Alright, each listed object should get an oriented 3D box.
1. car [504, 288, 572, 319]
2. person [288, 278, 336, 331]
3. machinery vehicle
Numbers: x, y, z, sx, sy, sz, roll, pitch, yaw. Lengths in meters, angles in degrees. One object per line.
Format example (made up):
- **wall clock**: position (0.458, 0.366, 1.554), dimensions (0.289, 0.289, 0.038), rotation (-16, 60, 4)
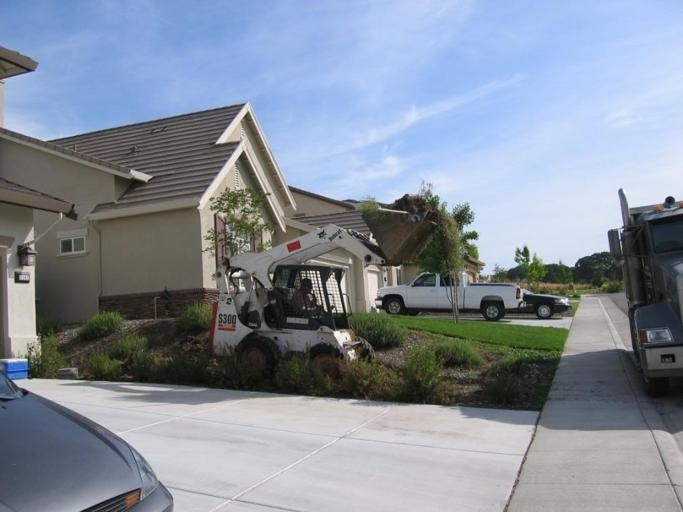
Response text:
- **car**: position (9.721, 2.493, 26.560), dimensions (2.950, 1.228, 1.541), rotation (0, -2, 13)
- **person**: position (-0.725, 1.075, 11.444), dimensions (1.038, 1.355, 0.761), rotation (1, -2, 10)
- **machinery vehicle**: position (-0.819, 1.053, 11.958), dimensions (4.096, 3.363, 1.844), rotation (0, -6, 3)
